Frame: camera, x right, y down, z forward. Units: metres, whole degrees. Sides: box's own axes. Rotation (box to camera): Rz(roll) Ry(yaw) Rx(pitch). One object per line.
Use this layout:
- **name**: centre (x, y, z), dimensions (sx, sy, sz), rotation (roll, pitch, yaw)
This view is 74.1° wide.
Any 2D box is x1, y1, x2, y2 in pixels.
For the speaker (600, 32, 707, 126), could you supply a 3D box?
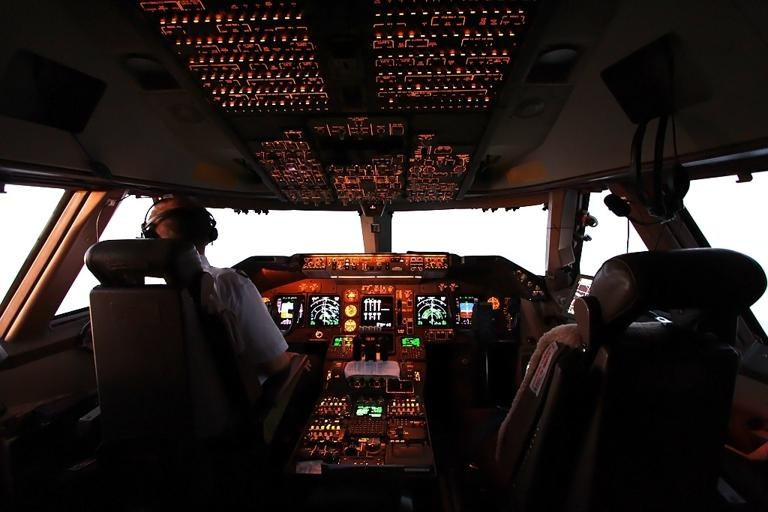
- **speaker**: centre (1.674, -1.085, 3.122), dimensions (0.456, 0.361, 0.442), rotation (7, -6, -37)

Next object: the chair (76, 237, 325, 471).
- **chair**: centre (-1.131, 0.537, 3.455), dimensions (1.108, 1.371, 1.460), rotation (0, 6, 13)
